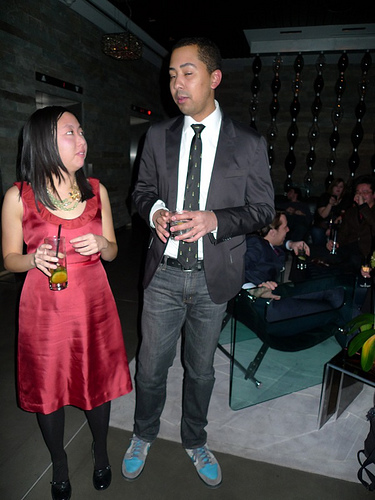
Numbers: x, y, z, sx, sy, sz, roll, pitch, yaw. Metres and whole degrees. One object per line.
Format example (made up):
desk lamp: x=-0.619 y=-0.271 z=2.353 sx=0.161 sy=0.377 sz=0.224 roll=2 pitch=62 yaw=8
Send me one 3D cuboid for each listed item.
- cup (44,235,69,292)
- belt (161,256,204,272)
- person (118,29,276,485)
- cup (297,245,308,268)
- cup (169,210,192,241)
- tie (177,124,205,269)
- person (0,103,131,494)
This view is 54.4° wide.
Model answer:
cup: x=-0.456 y=0.044 z=1.279 sx=0.073 sy=0.203 sz=0.158 roll=-1 pitch=13 yaw=-18
belt: x=-0.007 y=0.060 z=1.378 sx=0.138 sy=0.046 sz=0.044 roll=2 pitch=13 yaw=-2
person: x=-0.030 y=0.100 z=1.490 sx=0.504 sy=1.779 sz=0.536 roll=-10 pitch=18 yaw=-44
cup: x=1.005 y=0.054 z=3.173 sx=0.078 sy=0.094 sz=0.251 roll=2 pitch=31 yaw=11
cup: x=-0.023 y=-0.081 z=1.217 sx=0.076 sy=0.104 sz=0.107 roll=2 pitch=13 yaw=-3
tie: x=0.014 y=-0.206 z=1.369 sx=0.078 sy=0.529 sz=0.152 roll=3 pitch=13 yaw=-1
person: x=-0.453 y=0.229 z=1.415 sx=0.446 sy=1.503 sz=0.344 roll=-4 pitch=14 yaw=-27
